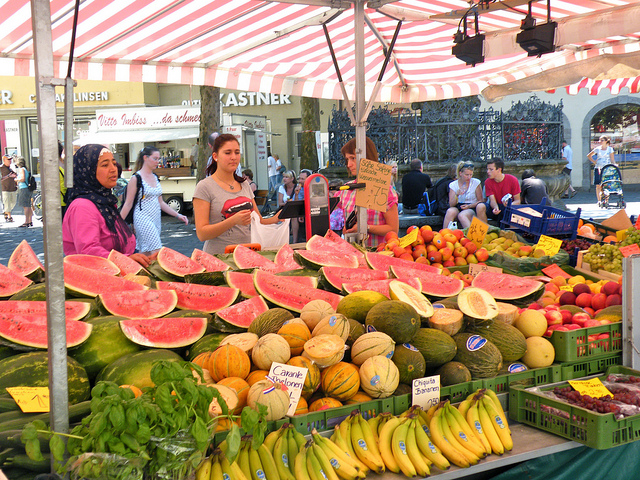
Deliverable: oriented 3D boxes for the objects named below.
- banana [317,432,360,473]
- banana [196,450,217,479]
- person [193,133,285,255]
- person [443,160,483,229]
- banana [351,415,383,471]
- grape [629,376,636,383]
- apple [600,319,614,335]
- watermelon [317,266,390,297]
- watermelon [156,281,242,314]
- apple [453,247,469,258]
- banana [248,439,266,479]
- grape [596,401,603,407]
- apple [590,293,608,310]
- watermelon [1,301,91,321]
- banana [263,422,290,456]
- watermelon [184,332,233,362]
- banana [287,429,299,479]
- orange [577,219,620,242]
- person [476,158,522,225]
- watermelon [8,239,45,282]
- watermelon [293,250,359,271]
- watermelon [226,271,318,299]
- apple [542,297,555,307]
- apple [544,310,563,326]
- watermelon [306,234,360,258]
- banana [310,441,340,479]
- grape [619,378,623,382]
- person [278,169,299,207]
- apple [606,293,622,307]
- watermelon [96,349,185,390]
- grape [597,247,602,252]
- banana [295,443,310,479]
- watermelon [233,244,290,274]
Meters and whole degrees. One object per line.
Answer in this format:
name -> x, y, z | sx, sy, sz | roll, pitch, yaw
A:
banana -> 0.078, 0.917, 2.557 | 0.032, 0.146, 0.048 | -46, -6, 31
banana -> -0.454, 0.922, 2.458 | 0.035, 0.151, 0.053 | 11, -32, 18
person -> -0.861, -0.412, 5.338 | 0.518, 1.064, 0.710 | -1, 4, -4
person -> 2.681, -0.901, 11.240 | 0.688, 1.221, 1.743 | 0, 4, 18
banana -> 0.183, 0.904, 2.667 | 0.059, 0.305, 0.105 | -9, -33, -13
grape -> 1.667, 0.747, 3.195 | 0.019, 0.028, 0.021 | -12, 27, 8
apple -> 1.697, 0.515, 3.585 | 0.078, 0.107, 0.084 | -1, 1, 1
watermelon -> 0.180, 0.234, 3.880 | 0.306, 0.134, 0.237 | 3, 4, -25
watermelon -> -0.750, 0.301, 3.642 | 0.496, 0.220, 0.172 | 10, -26, -25
apple -> 1.269, 0.105, 5.406 | 0.095, 0.103, 0.097 | -26, 30, -29
banana -> -0.270, 0.929, 2.485 | 0.074, 0.126, 0.037 | 1, 4, 31
grape -> 1.340, 0.790, 2.878 | 0.018, 0.021, 0.020 | -5, 6, 9
apple -> 1.854, 0.409, 4.006 | 0.092, 0.106, 0.094 | 1, 3, 5
watermelon -> -1.495, 0.379, 3.310 | 0.375, 0.132, 0.220 | 5, -10, -9
banana -> -0.196, 0.845, 2.579 | 0.190, 0.050, 0.063 | -54, -1, -36
watermelon -> -0.586, 0.545, 3.152 | 0.219, 0.131, 0.120 | -28, 43, -34
banana -> -0.113, 0.918, 2.532 | 0.054, 0.179, 0.037 | -7, -8, 19
orange -> 2.815, -0.131, 6.262 | 0.213, 0.111, 0.251 | 20, 3, -7
person -> 3.204, -0.925, 10.790 | 0.770, 1.125, 0.836 | 0, 4, 17
watermelon -> -2.770, 0.175, 5.655 | 0.220, 0.160, 0.461 | -20, 32, -20
watermelon -> 0.039, 0.134, 4.323 | 0.354, 0.132, 0.194 | 5, 7, -25
watermelon -> -0.330, 0.271, 3.832 | 0.443, 0.156, 0.243 | 6, 4, 11
apple -> 1.512, 0.406, 3.967 | 0.055, 0.075, 0.059 | -2, 5, 2
apple -> 1.354, 0.450, 3.484 | 0.082, 0.085, 0.098 | 22, -33, -31
watermelon -> 0.060, 0.043, 4.604 | 0.241, 0.090, 0.195 | 21, 10, 16
banana -> 0.014, 0.931, 2.506 | 0.033, 0.146, 0.050 | -35, -10, 30
grape -> 1.610, 0.752, 3.212 | 0.012, 0.011, 0.015 | 0, 26, 30
person -> -0.742, -1.230, 14.386 | 0.596, 0.959, 0.539 | 8, 14, 33
apple -> 1.916, 0.388, 3.930 | 0.075, 0.102, 0.081 | -2, 5, 0
watermelon -> -0.808, 0.582, 2.661 | 0.332, 0.195, 0.178 | -6, -14, -31
grape -> 2.474, 0.077, 5.311 | 0.027, 0.021, 0.037 | -17, 14, 13
banana -> -0.079, 0.945, 2.502 | 0.039, 0.167, 0.055 | 24, -30, -24
watermelon -> -0.463, 0.119, 4.379 | 0.307, 0.111, 0.191 | 24, 6, 22
